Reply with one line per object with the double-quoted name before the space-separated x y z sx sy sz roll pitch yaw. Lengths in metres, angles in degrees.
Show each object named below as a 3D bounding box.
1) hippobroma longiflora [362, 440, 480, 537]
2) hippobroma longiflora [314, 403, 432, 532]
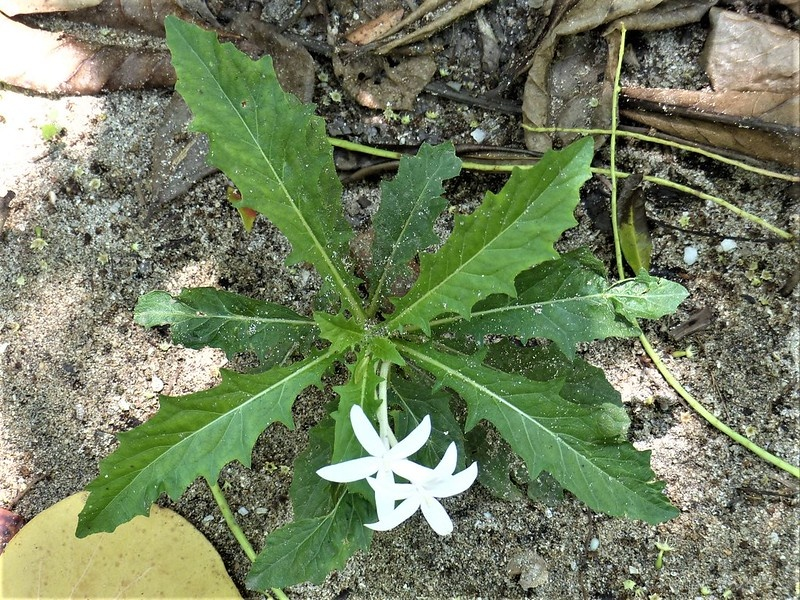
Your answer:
"hippobroma longiflora" 0.104 0.809 3.218 0.429 0.348 0.089 -36 27 10
"hippobroma longiflora" -0.100 0.635 3.221 0.320 0.318 0.395 21 48 22
